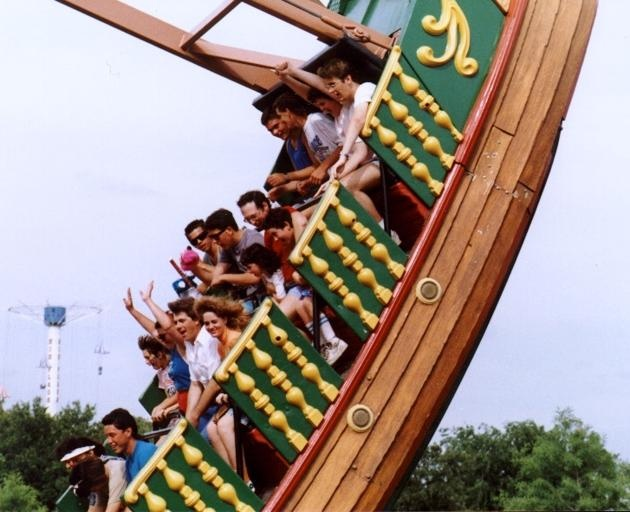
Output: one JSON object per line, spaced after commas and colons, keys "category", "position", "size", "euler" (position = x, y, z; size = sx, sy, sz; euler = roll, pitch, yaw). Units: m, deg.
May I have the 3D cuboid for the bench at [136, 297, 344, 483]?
{"category": "bench", "position": [-0.610, 1.080, 9.133], "size": [2.078, 1.578, 0.603], "euler": [44, 2, 4]}
